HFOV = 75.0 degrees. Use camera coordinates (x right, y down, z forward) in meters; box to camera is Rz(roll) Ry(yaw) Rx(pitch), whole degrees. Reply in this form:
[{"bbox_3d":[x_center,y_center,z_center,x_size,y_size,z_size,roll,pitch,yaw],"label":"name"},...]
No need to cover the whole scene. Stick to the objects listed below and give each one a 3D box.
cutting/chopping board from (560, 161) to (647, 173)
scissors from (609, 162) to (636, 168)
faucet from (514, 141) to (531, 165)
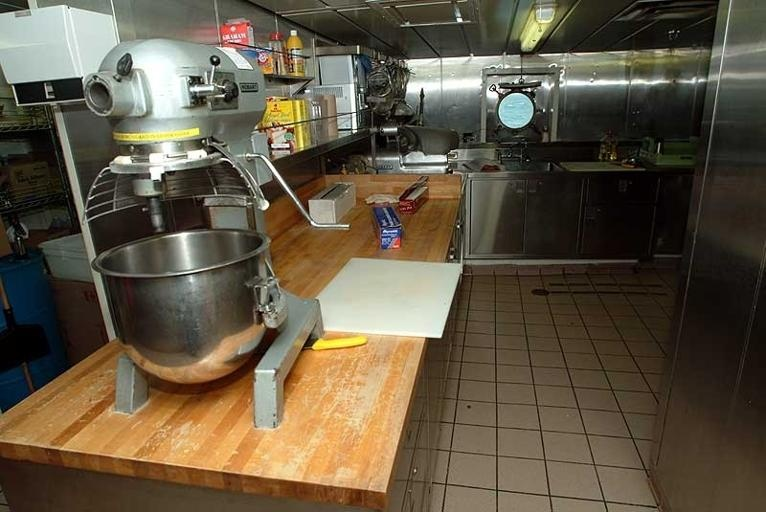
[{"bbox_3d":[1.753,-0.720,4.042,0.620,0.027,0.481,0,18,5],"label":"cutting/chopping board"},{"bbox_3d":[1.945,-0.729,4.053,0.120,0.028,0.112,-1,7,-3],"label":"scissors"},{"bbox_3d":[1.315,-0.960,4.699,0.214,0.227,0.337,0,18,14],"label":"faucet"}]
